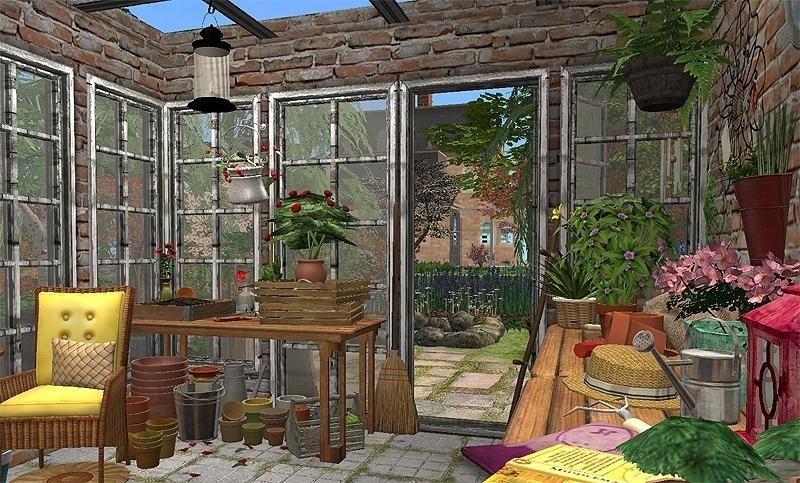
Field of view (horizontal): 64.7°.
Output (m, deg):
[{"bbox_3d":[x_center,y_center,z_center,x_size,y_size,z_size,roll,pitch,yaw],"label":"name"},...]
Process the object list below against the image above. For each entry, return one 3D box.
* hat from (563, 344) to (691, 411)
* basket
[{"bbox_3d":[1.177,0.624,3.252,0.402,0.118,0.413,9,4,9],"label":"hat"},{"bbox_3d":[-0.659,1.413,5.368,0.724,0.506,0.433,2,-8,-28],"label":"basket"}]
